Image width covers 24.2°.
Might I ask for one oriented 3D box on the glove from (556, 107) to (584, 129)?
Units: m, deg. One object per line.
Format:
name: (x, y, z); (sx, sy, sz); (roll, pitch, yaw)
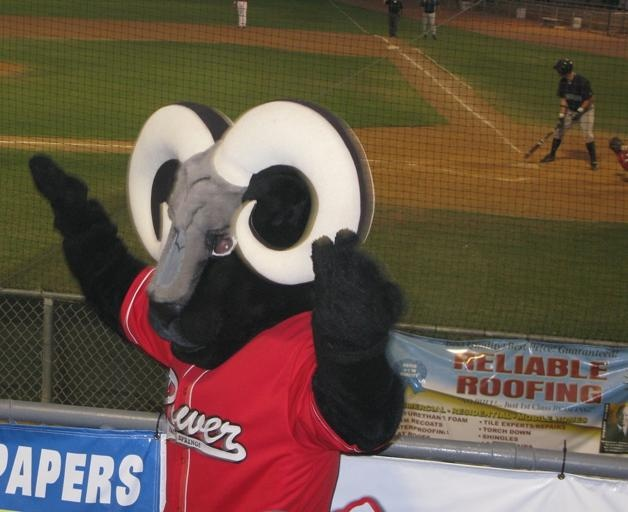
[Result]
glove: (4.535, -2.425, 25.879); (0.306, 0.436, 0.157); (14, -1, 28)

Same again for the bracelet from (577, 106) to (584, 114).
bracelet: (4.715, -2.572, 25.852); (0.022, 0.085, 0.088); (5, 5, -43)

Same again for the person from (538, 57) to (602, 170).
person: (4.709, -2.592, 26.281); (1.032, 1.968, 1.308); (11, 31, 8)

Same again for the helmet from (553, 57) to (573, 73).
helmet: (4.449, -3.354, 25.935); (0.399, 0.326, 0.411); (-5, 12, -1)

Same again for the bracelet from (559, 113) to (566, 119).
bracelet: (4.393, -2.481, 25.879); (0.119, 0.093, 0.122); (1, -1, 2)
